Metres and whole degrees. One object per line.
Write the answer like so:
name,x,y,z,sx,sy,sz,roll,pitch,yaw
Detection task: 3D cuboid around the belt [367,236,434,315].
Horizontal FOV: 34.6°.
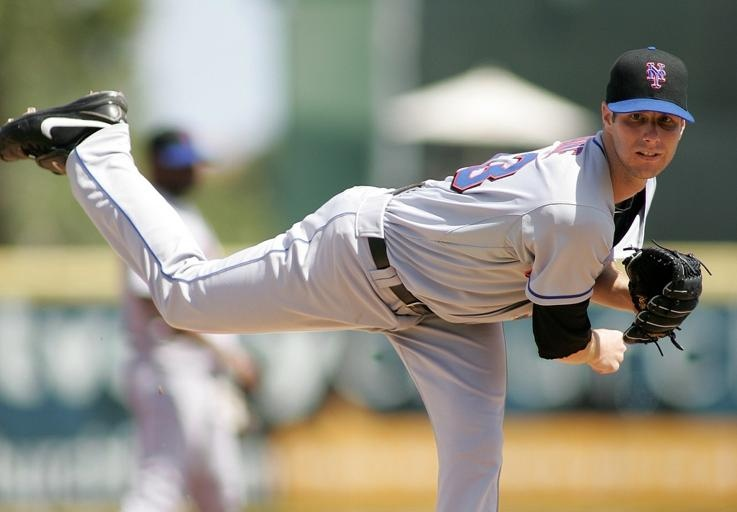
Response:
belt,0.206,0.086,6.165,0.119,0.405,0.290,-32,38,-5

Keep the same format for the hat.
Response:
hat,1.394,-0.848,5.848,0.337,0.230,0.420,3,11,-12

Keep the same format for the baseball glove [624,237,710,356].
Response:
baseball glove,1.474,0.199,6.149,0.434,0.540,0.301,6,7,-43
